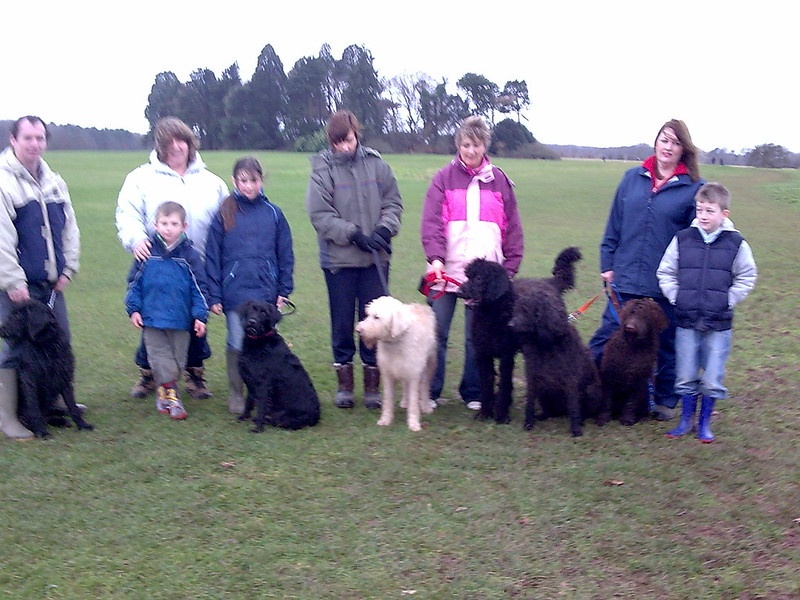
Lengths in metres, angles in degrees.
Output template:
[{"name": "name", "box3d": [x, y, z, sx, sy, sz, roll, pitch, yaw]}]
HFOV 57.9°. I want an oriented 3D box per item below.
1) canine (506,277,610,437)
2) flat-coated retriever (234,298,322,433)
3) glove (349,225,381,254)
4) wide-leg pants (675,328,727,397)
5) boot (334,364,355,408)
[{"name": "canine", "box3d": [1.576, 0.523, 7.614, 0.793, 1.661, 1.288, 2, 12, 33]}, {"name": "flat-coated retriever", "box3d": [-1.253, 0.718, 7.696, 1.000, 1.277, 0.766, 7, 1, -18]}, {"name": "glove", "box3d": [-0.378, -0.651, 7.745, 0.292, 0.247, 0.180, 1, 10, 8]}, {"name": "wide-leg pants", "box3d": [2.882, 0.601, 7.005, 0.477, 0.648, 0.467, 3, 11, 21]}, {"name": "boot", "box3d": [-0.667, 0.969, 8.236, 0.240, 0.436, 0.468, -9, 4, 11]}]
